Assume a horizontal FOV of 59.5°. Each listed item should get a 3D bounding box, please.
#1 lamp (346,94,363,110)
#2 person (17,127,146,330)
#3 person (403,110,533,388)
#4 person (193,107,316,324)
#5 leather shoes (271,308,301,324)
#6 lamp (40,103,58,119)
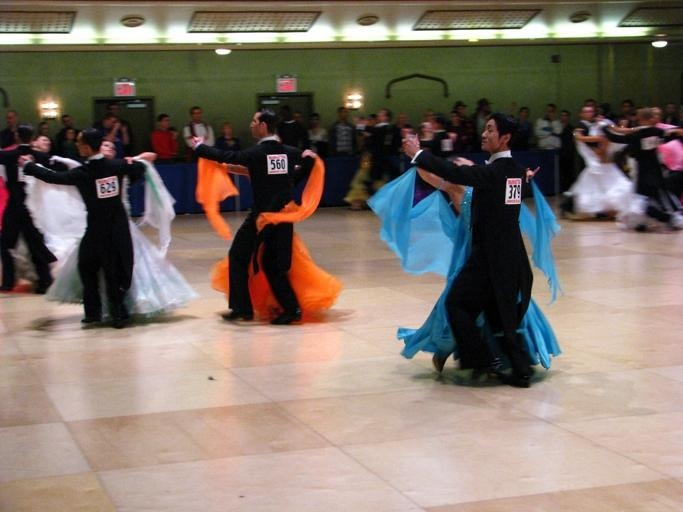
[{"bbox_3d":[0.367,-4.893,19.042,0.636,0.441,0.529,-2,12,-5],"label":"lamp"},{"bbox_3d":[-2.477,-0.275,6.151,0.886,1.992,0.553,-7,14,-19],"label":"person"},{"bbox_3d":[0.988,-0.048,4.494,0.898,1.986,0.550,1,14,12],"label":"person"},{"bbox_3d":[-0.851,-0.430,6.411,1.221,2.247,0.826,-3,13,-5],"label":"person"},{"bbox_3d":[-0.570,0.647,6.360,0.329,0.099,0.145,-3,4,-7],"label":"leather shoes"},{"bbox_3d":[-8.226,-4.116,16.843,0.628,0.417,0.134,-4,5,-17],"label":"lamp"}]
